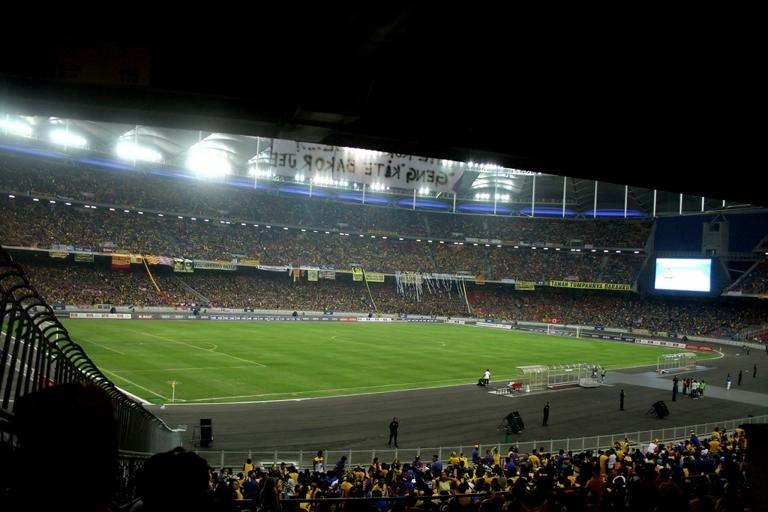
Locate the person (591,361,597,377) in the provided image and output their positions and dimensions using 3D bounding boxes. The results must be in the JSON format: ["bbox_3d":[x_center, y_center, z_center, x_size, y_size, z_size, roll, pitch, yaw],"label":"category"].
[{"bbox_3d":[11.989,6.581,45.730,0.337,0.660,1.049,7,-4,16],"label":"person"}]
